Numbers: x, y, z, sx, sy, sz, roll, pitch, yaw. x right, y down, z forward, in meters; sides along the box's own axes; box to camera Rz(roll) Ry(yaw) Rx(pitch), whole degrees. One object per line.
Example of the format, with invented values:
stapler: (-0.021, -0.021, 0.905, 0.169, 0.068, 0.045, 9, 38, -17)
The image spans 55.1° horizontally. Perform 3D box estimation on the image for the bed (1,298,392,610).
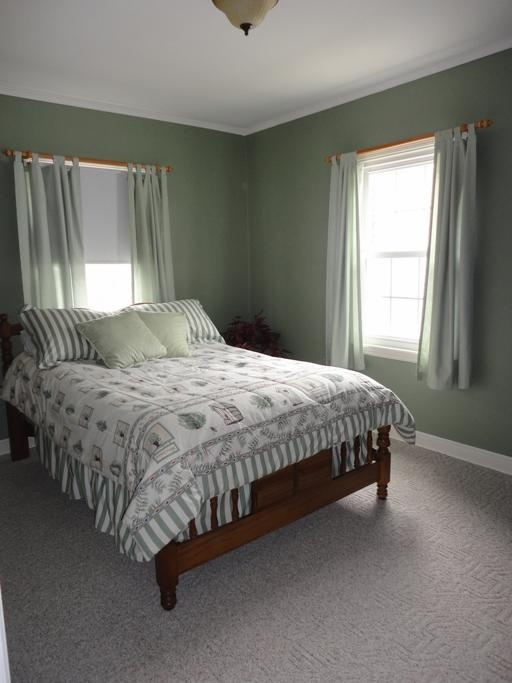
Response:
bed: (-0.480, 0.094, 2.728, 1.343, 1.057, 1.840, -11, 15, -38)
